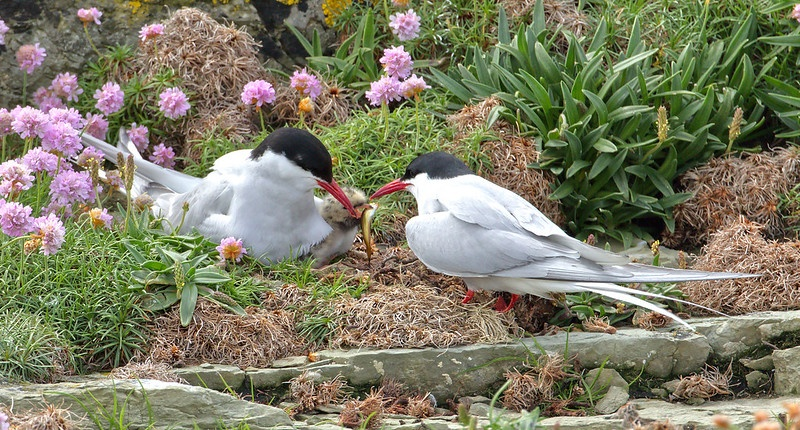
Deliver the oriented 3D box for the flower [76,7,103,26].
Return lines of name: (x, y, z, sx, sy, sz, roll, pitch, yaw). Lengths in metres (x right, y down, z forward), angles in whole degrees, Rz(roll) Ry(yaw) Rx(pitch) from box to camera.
flower: (-3.698, -2.318, 10.858, 0.324, 0.176, 0.299, -1, 12, 42)

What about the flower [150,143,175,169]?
flower: (-2.704, -0.669, 10.524, 0.346, 0.160, 0.300, 5, 51, 29)

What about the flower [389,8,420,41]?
flower: (0.040, -2.162, 10.700, 0.424, 0.373, 0.228, -23, 61, -21)

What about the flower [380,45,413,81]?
flower: (-0.030, -1.644, 10.104, 0.467, 0.371, 0.262, -6, 5, -5)

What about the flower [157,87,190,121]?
flower: (-2.589, -1.260, 10.550, 0.331, 0.353, 0.304, -26, 35, -7)

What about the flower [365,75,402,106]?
flower: (-0.147, -1.327, 10.040, 0.391, 0.201, 0.345, -20, 19, -1)

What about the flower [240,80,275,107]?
flower: (-1.553, -1.317, 10.253, 0.413, 0.239, 0.340, -11, 36, -2)

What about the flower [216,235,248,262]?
flower: (-1.642, 0.327, 8.983, 0.284, 0.231, 0.107, -13, 9, -6)

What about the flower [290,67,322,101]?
flower: (-1.113, -1.439, 10.351, 0.295, 0.303, 0.185, -10, 71, 46)
